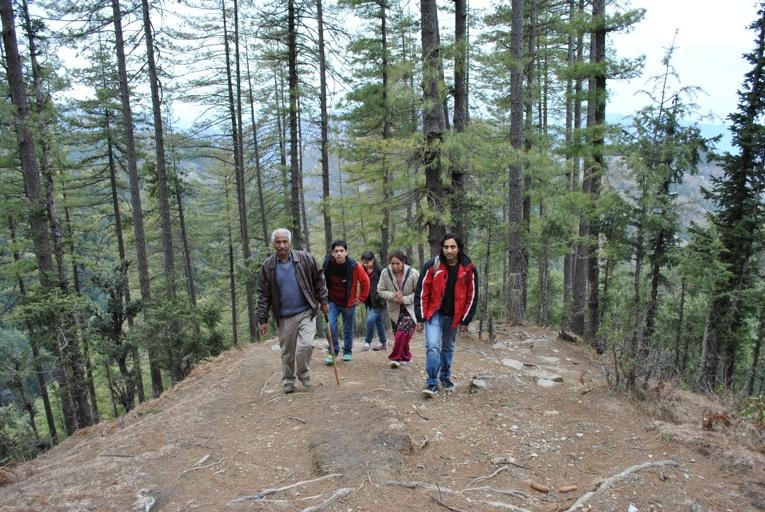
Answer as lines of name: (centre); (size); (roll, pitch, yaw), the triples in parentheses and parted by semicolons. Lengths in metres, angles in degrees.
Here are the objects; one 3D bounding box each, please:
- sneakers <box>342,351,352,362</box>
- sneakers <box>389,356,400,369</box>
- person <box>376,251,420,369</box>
sneakers: (-1.133, 3.284, 19.716); (0.230, 0.285, 0.630); (-1, -13, 4)
sneakers: (0.389, 3.380, 19.080); (0.168, 0.205, 0.467); (-3, -24, 9)
person: (0.538, 1.673, 18.971); (1.195, 3.708, 0.639); (-3, 7, 2)
